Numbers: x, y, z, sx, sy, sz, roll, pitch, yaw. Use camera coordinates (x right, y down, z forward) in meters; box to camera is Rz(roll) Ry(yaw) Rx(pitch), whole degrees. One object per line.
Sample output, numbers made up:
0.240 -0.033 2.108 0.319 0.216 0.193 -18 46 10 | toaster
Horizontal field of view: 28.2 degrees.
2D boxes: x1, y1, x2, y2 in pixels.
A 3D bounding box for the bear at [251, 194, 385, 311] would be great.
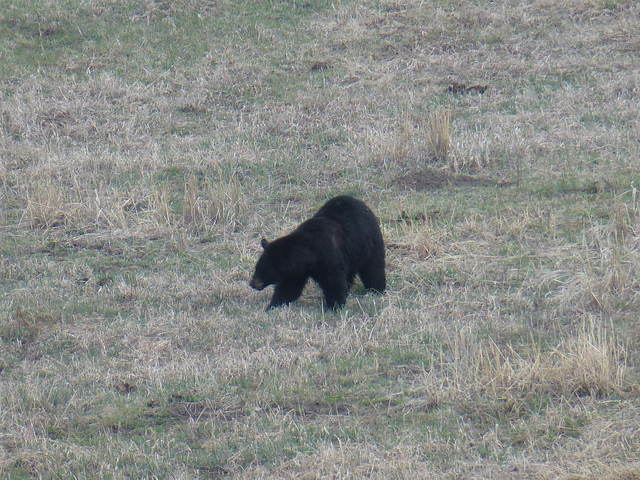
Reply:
-0.022 0.182 21.032 1.520 2.023 1.714 8 19 28 | bear
